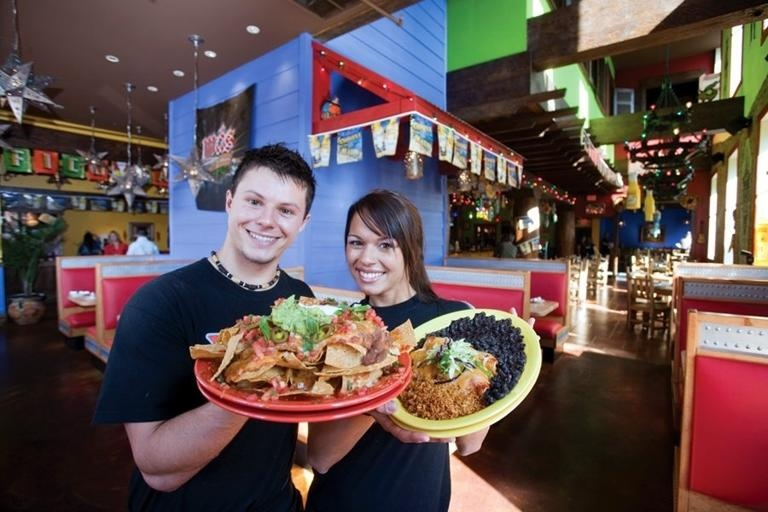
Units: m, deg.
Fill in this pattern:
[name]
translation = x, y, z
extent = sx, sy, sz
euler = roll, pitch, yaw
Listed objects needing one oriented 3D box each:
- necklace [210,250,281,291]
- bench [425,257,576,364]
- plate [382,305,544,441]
[necklace]
translation = -1.389, 0.155, 4.604
extent = 0.079, 0.491, 0.427
euler = -46, 0, 31
[bench]
translation = 1.671, 0.735, 6.484
extent = 1.845, 1.024, 0.721
euler = 0, 1, 42
[plate]
translation = 0.932, 1.055, 4.658
extent = 1.225, 0.299, 1.247
euler = -25, 29, 9
